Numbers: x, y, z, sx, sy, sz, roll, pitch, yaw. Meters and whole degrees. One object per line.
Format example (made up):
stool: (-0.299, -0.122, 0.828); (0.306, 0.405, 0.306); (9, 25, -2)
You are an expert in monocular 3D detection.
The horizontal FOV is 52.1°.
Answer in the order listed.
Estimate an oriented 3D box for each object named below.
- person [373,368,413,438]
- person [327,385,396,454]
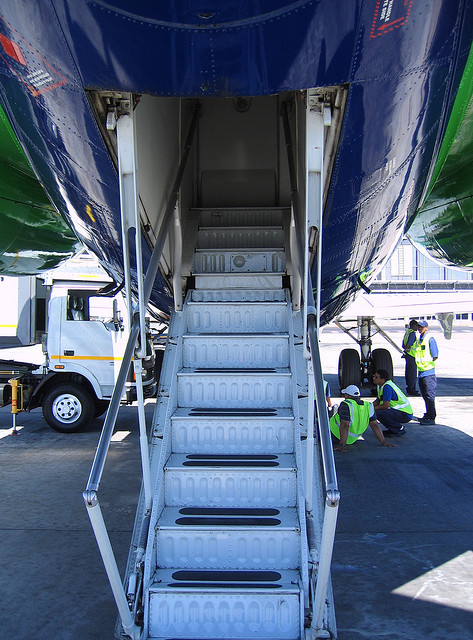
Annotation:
person: (2.330, 1.300, 7.507); (0.721, 0.535, 1.038); (-5, 91, 30)
person: (1.730, 1.317, 7.062); (0.874, 1.563, 0.741); (0, 97, 1)
